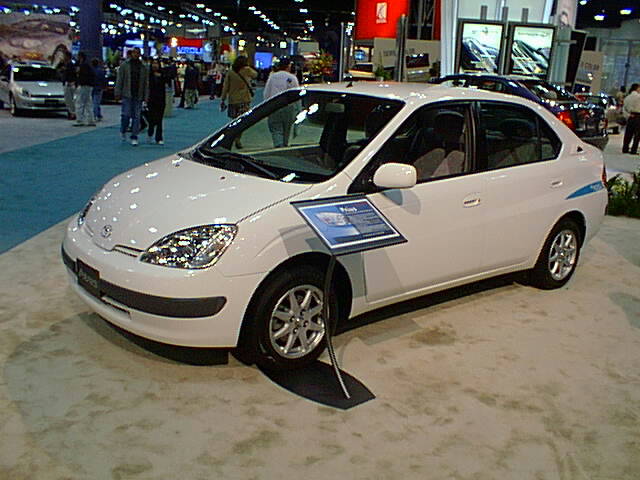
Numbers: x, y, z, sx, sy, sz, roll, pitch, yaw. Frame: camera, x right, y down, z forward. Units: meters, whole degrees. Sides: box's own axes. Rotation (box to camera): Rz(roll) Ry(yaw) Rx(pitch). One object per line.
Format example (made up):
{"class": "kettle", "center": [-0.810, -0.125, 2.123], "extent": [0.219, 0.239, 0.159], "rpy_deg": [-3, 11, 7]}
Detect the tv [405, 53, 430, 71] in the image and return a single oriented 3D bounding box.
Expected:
{"class": "tv", "center": [4.102, -7.542, 16.483], "extent": [1.144, 0.706, 0.162], "rpy_deg": [-6, -7, -12]}
